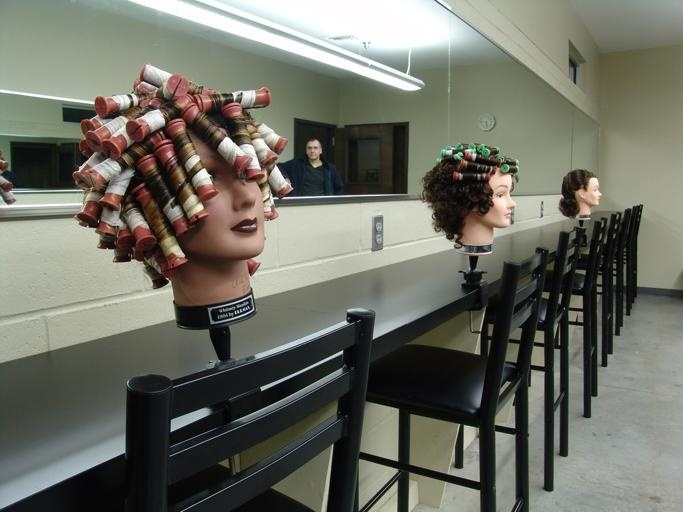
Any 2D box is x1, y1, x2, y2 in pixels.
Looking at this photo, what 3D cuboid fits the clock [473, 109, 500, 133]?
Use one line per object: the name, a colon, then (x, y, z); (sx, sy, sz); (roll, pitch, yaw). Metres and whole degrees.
clock: (0.928, -0.861, 3.261); (0.165, 0.170, 0.038); (3, -1, -43)
